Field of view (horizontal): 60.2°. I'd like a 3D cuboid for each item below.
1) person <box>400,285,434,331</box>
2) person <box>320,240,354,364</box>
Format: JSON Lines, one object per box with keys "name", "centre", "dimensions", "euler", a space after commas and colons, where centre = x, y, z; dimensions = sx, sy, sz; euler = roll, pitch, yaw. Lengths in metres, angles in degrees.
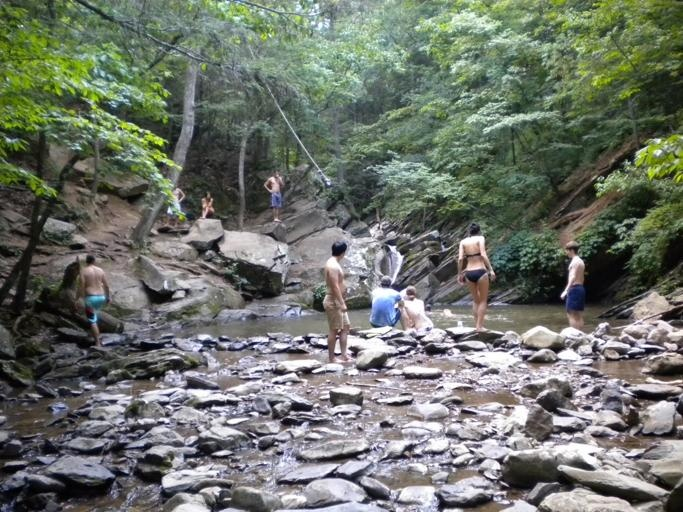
{"name": "person", "centre": [1.743, 1.206, 13.891], "dimensions": [0.618, 1.001, 1.147], "euler": [0, -3, -2]}
{"name": "person", "centre": [-0.119, 0.842, 11.418], "dimensions": [0.477, 2.359, 1.277], "euler": [0, -3, 1]}
